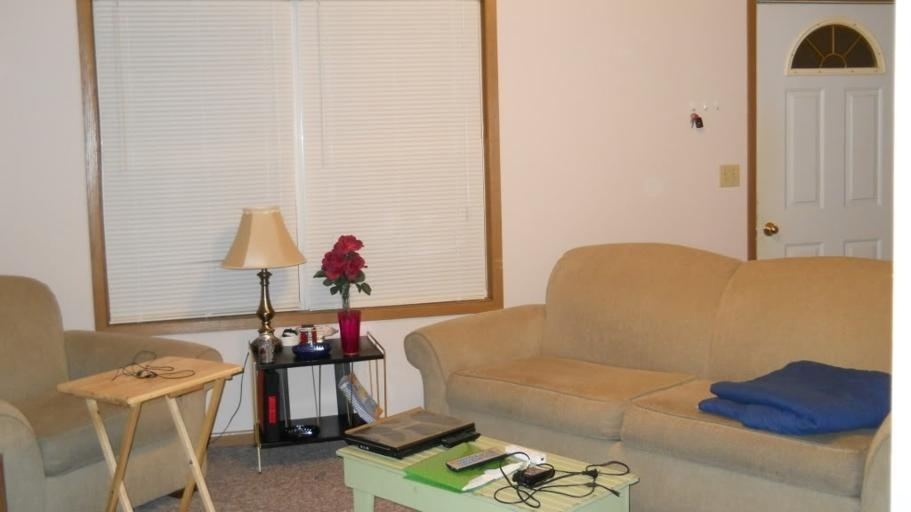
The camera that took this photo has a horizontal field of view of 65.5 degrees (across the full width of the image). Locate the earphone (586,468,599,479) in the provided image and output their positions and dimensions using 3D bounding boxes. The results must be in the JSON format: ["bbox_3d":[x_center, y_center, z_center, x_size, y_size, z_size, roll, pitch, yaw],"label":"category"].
[{"bbox_3d":[0.701,1.102,3.624,0.053,0.032,0.066,3,8,35],"label":"earphone"}]

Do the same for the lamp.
[{"bbox_3d":[-1.391,0.161,5.028,0.498,1.007,0.497,-7,9,-34],"label":"lamp"}]

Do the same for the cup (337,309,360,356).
[{"bbox_3d":[-0.727,0.528,4.940,0.144,0.306,0.135,-2,8,0],"label":"cup"}]

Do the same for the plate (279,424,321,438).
[{"bbox_3d":[-1.077,1.217,4.943,0.246,0.045,0.190,-2,6,-5],"label":"plate"}]

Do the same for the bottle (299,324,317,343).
[{"bbox_3d":[-1.036,0.547,5.034,0.125,0.105,0.113,1,1,18],"label":"bottle"}]

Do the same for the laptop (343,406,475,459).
[{"bbox_3d":[-0.238,0.992,3.984,0.495,0.099,0.500,6,11,43],"label":"laptop"}]

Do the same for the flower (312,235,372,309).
[{"bbox_3d":[-0.850,0.098,5.186,0.422,0.430,0.345,-15,46,-36],"label":"flower"}]

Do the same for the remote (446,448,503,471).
[{"bbox_3d":[0.111,1.052,3.694,0.262,0.031,0.106,-8,12,-30],"label":"remote"}]

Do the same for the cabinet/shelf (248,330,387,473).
[{"bbox_3d":[-0.995,1.005,4.881,0.970,0.720,0.494,-5,18,-18],"label":"cabinet/shelf"}]

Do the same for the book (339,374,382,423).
[{"bbox_3d":[-0.577,0.870,4.313,0.111,0.353,0.278,-42,8,-5],"label":"book"}]
